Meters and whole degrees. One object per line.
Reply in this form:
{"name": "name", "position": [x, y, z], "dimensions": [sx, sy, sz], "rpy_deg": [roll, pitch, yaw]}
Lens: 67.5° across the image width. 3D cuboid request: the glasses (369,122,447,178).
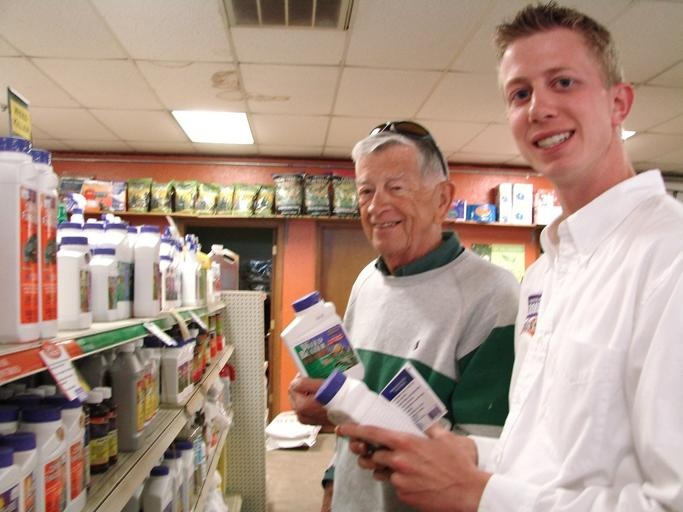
{"name": "glasses", "position": [0.252, -0.411, 1.867], "dimensions": [0.205, 0.210, 0.066], "rpy_deg": [8, 23, 28]}
